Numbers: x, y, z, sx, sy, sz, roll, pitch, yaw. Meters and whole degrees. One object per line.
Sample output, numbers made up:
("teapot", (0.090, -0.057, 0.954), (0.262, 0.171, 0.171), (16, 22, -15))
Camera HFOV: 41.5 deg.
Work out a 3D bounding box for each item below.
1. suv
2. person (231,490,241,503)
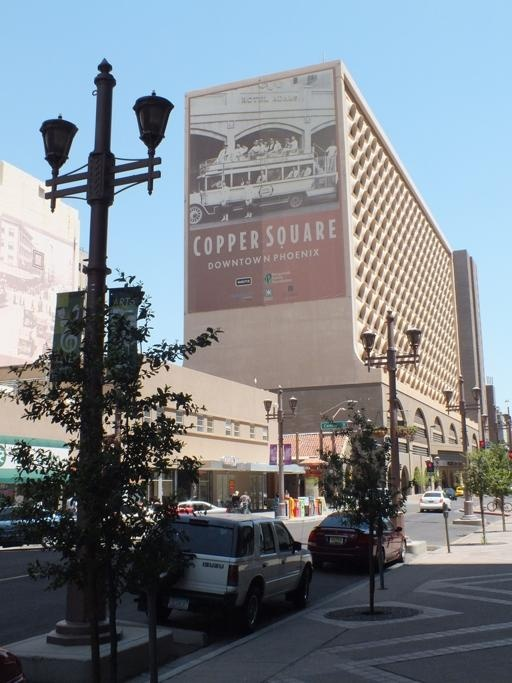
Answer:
("suv", (-0.403, 3.137, 9.803), (1.670, 1.540, 3.296), (-5, -7, 24))
("person", (-1.236, 9.886, 42.452), (0.519, 0.509, 0.954), (9, -5, 7))
